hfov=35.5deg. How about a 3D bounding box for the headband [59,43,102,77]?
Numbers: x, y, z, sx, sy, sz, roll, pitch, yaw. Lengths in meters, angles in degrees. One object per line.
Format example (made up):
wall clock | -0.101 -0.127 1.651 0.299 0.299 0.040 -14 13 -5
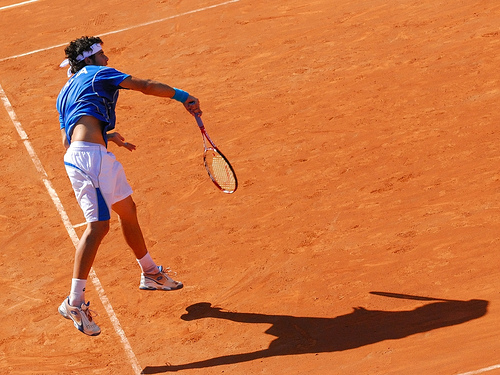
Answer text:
headband | -2.253 -1.734 10.543 0.558 0.357 0.165 -39 57 6

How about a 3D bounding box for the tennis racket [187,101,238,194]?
tennis racket | -0.543 -0.620 11.140 0.142 1.517 0.624 -33 19 -35
